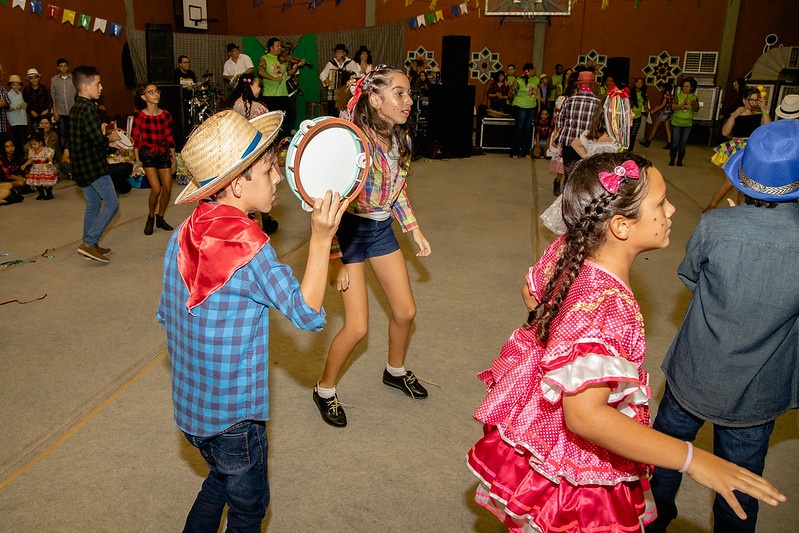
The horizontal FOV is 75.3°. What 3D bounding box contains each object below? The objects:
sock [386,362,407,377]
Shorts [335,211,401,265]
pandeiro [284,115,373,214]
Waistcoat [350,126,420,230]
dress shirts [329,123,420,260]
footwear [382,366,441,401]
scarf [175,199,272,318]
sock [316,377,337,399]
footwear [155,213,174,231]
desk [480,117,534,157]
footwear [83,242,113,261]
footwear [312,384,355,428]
[{"bbox_3d":[-0.024,0.729,3.641,0.139,0.066,0.059,0,10,-2],"label":"sock"},{"bbox_3d":[-0.225,-0.187,3.235,0.389,0.352,0.286,-8,24,-31],"label":"Shorts"},{"bbox_3d":[-0.274,-0.417,2.050,0.267,0.330,0.418,5,21,12],"label":"pandeiro"},{"bbox_3d":[-0.092,-0.553,3.271,0.457,0.555,0.196,4,22,-19],"label":"Waistcoat"},{"bbox_3d":[-0.166,-0.480,3.357,0.613,0.744,0.197,6,9,-28],"label":"dress shirts"},{"bbox_3d":[0.058,0.787,3.654,0.313,0.124,0.162,23,28,11],"label":"footwear"},{"bbox_3d":[-0.705,-0.011,1.945,0.381,0.378,0.127,40,0,24],"label":"scarf"},{"bbox_3d":[-0.484,0.811,3.428,0.142,0.146,0.091,5,-3,6],"label":"sock"},{"bbox_3d":[-3.122,-0.568,6.733,0.314,0.127,0.214,12,-26,-21],"label":"footwear"},{"bbox_3d":[2.354,-3.189,12.370,1.195,0.865,0.739,3,25,3],"label":"desk"},{"bbox_3d":[-3.267,-0.153,5.698,0.169,0.130,0.401,-5,-5,40],"label":"footwear"},{"bbox_3d":[-0.446,0.937,3.419,0.137,0.131,0.335,-22,65,-41],"label":"footwear"}]
